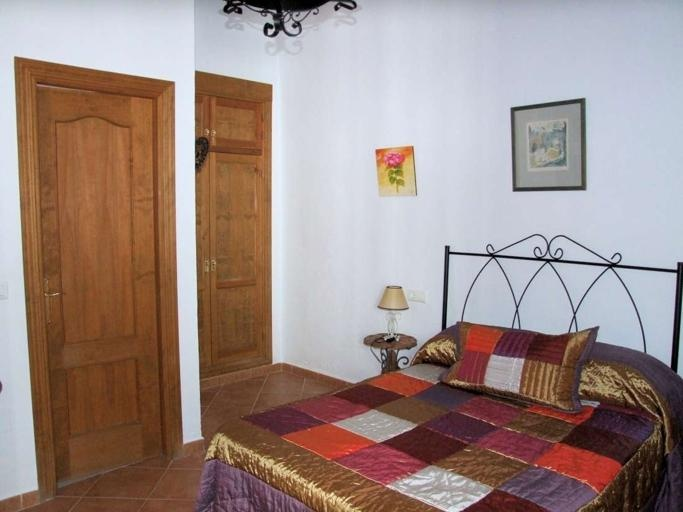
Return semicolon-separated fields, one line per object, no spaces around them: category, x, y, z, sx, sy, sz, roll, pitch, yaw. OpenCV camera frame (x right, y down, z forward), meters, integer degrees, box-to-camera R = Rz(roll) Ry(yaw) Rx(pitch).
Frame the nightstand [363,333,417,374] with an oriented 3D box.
nightstand;0.420;0.832;4.349;0.372;0.394;0.362;-5;7;-41
